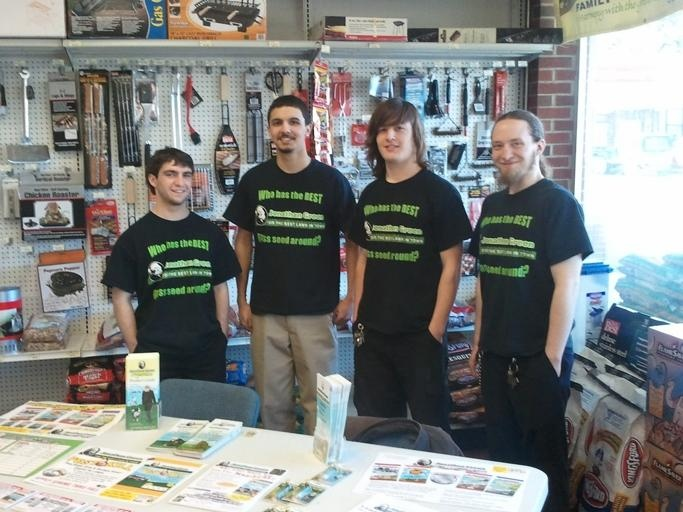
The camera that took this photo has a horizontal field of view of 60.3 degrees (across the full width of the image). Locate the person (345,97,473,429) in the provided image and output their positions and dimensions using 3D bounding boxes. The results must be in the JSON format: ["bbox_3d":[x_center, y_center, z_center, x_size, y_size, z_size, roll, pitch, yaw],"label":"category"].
[{"bbox_3d":[0.356,0.036,3.257,0.682,1.754,0.502,4,15,18],"label":"person"}]

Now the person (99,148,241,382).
[{"bbox_3d":[-0.920,0.218,3.317,0.755,1.048,0.371,-6,15,-22],"label":"person"}]

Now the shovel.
[{"bbox_3d":[-2.100,-0.928,3.900,0.263,0.619,0.146,-5,15,-19],"label":"shovel"}]

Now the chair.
[{"bbox_3d":[-0.610,0.685,2.945,0.333,0.277,0.438,-2,-7,14],"label":"chair"}]
